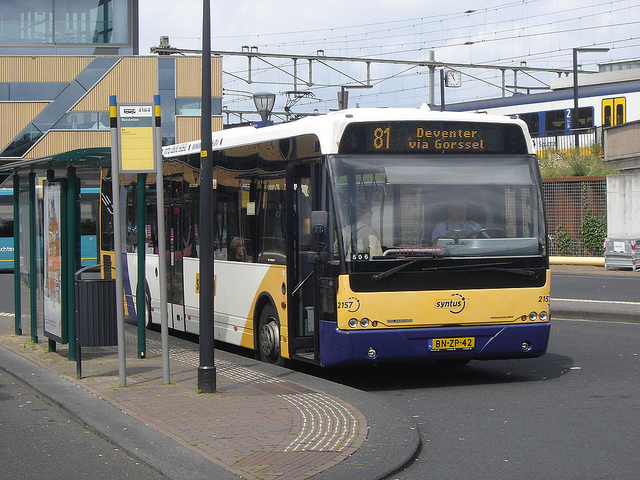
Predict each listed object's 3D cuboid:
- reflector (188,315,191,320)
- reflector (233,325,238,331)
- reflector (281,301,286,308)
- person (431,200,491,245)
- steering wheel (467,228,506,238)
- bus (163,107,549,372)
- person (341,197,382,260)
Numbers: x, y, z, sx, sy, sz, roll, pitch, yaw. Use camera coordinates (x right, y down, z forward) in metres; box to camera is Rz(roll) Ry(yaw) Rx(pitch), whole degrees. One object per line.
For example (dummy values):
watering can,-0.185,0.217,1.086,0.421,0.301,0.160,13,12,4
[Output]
reflector,-2.332,1.376,13.790,0.037,0.058,0.013,4,-1,44
reflector,-1.350,1.402,12.312,0.028,0.092,0.082,-4,7,-41
reflector,-0.520,0.912,10.860,0.068,0.070,0.071,-1,2,-17
person,1.795,-0.181,10.066,0.827,0.655,0.422,-6,4,-29
steering wheel,2.176,-0.090,10.154,0.548,0.120,0.026,-1,3,-16
bus,-0.222,0.182,14.454,3.288,3.740,9.977,1,-1,-24
person,0.498,-0.113,9.754,0.644,0.935,0.349,2,7,34
